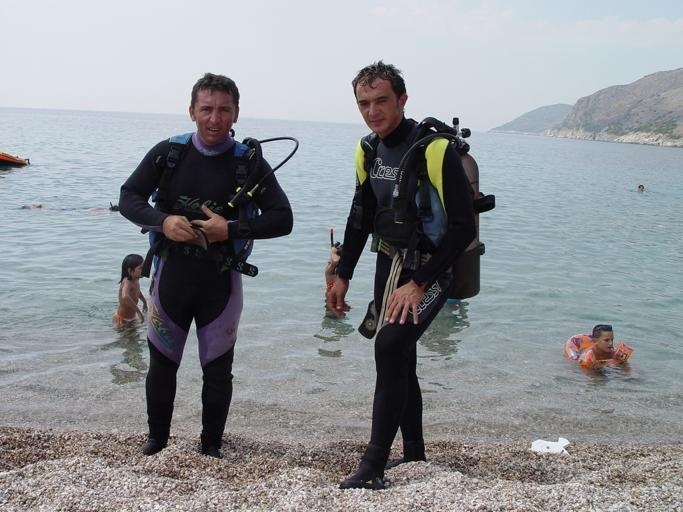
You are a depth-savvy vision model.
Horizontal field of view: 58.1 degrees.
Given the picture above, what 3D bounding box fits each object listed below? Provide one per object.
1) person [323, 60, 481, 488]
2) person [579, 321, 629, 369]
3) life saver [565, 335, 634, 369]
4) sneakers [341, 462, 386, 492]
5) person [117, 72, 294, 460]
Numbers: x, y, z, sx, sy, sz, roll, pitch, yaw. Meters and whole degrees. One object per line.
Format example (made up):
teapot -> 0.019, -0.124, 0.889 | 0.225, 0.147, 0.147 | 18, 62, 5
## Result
person -> 0.497, 0.107, 4.891 | 0.884, 3.240, 1.156 | 1, 12, -23
person -> 4.210, 1.483, 9.961 | 0.959, 0.640, 0.527 | 2, 1, -17
life saver -> 3.996, 1.579, 9.972 | 0.716, 0.150, 0.644 | 1, 11, 16
sneakers -> 0.177, 1.687, 4.620 | 0.442, 0.244, 0.136 | 4, -24, -5
person -> -1.179, 0.133, 5.182 | 1.348, 3.305, 0.695 | 4, 11, -5
